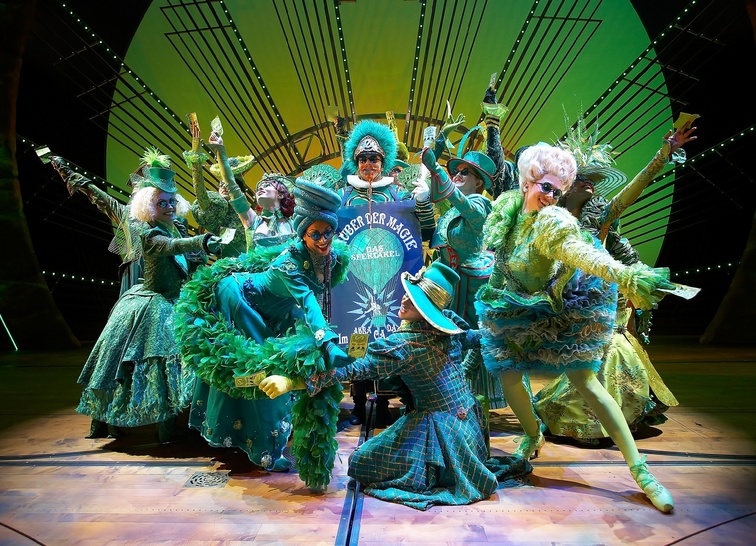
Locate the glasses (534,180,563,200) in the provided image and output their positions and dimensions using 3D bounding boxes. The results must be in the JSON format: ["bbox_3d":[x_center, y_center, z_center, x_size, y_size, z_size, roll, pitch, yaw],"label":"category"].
[{"bbox_3d":[0.928,-0.444,2.566,0.149,0.087,0.043,-1,1,-19],"label":"glasses"}]

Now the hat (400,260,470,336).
[{"bbox_3d":[0.321,0.125,2.624,0.206,0.436,0.309,-48,-9,12],"label":"hat"}]

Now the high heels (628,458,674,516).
[{"bbox_3d":[1.363,1.078,2.513,0.112,0.130,0.327,-39,19,6],"label":"high heels"}]

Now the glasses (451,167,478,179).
[{"bbox_3d":[0.667,-0.758,3.625,0.104,0.096,0.033,-3,33,36],"label":"glasses"}]

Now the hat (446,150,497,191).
[{"bbox_3d":[0.771,-0.859,3.665,0.377,0.144,0.420,32,31,7],"label":"hat"}]

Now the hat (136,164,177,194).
[{"bbox_3d":[-1.604,-0.693,3.512,0.255,0.109,0.292,10,-8,-43],"label":"hat"}]

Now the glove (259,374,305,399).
[{"bbox_3d":[-0.494,0.564,2.494,0.208,0.070,0.125,-5,9,-44],"label":"glove"}]
